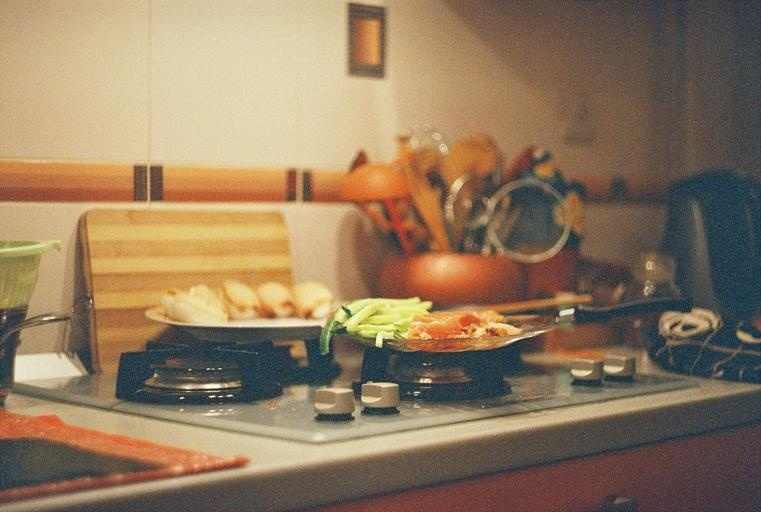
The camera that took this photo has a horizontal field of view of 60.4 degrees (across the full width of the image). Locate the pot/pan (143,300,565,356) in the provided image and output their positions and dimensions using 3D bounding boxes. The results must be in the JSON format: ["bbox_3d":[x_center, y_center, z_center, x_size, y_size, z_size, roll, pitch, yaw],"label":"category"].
[{"bbox_3d":[-0.130,0.093,1.417,0.868,0.106,0.568,1,-1,-38],"label":"pot/pan"}]

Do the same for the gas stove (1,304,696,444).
[{"bbox_3d":[-0.003,0.238,1.180,1.197,0.076,0.439,-3,3,-21],"label":"gas stove"}]

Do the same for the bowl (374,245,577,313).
[{"bbox_3d":[0.205,0.037,1.435,0.406,0.114,0.254,-7,4,-36],"label":"bowl"}]
